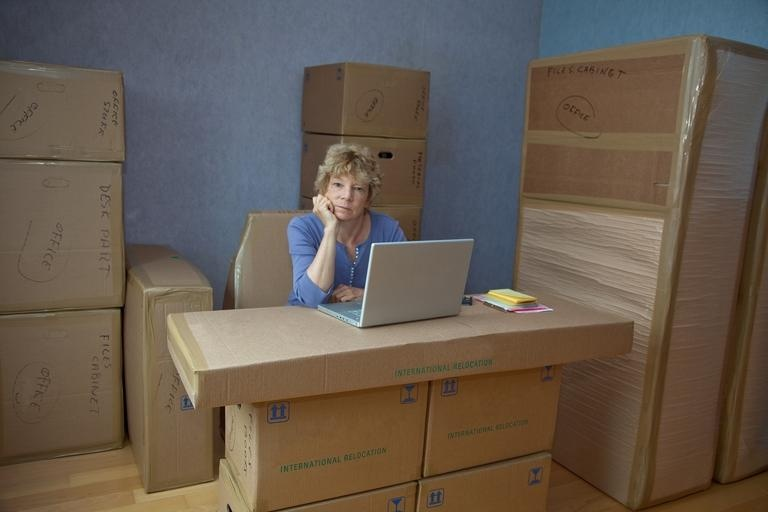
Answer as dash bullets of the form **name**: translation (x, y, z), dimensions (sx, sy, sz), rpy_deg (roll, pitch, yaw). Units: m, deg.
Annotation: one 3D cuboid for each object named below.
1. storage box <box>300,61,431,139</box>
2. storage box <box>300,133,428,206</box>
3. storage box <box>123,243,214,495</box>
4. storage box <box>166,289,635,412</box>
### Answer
- **storage box**: translation (-0.082, -0.804, 3.193), dimensions (0.496, 0.313, 0.488), rpy_deg (-2, 12, -26)
- **storage box**: translation (-0.137, -0.495, 3.328), dimensions (0.633, 0.354, 0.634), rpy_deg (-2, 10, -20)
- **storage box**: translation (-0.949, 0.536, 2.517), dimensions (0.342, 0.976, 1.026), rpy_deg (-2, 6, -21)
- **storage box**: translation (0.046, 0.320, 2.189), dimensions (1.627, 0.198, 0.418), rpy_deg (-2, 11, -19)
